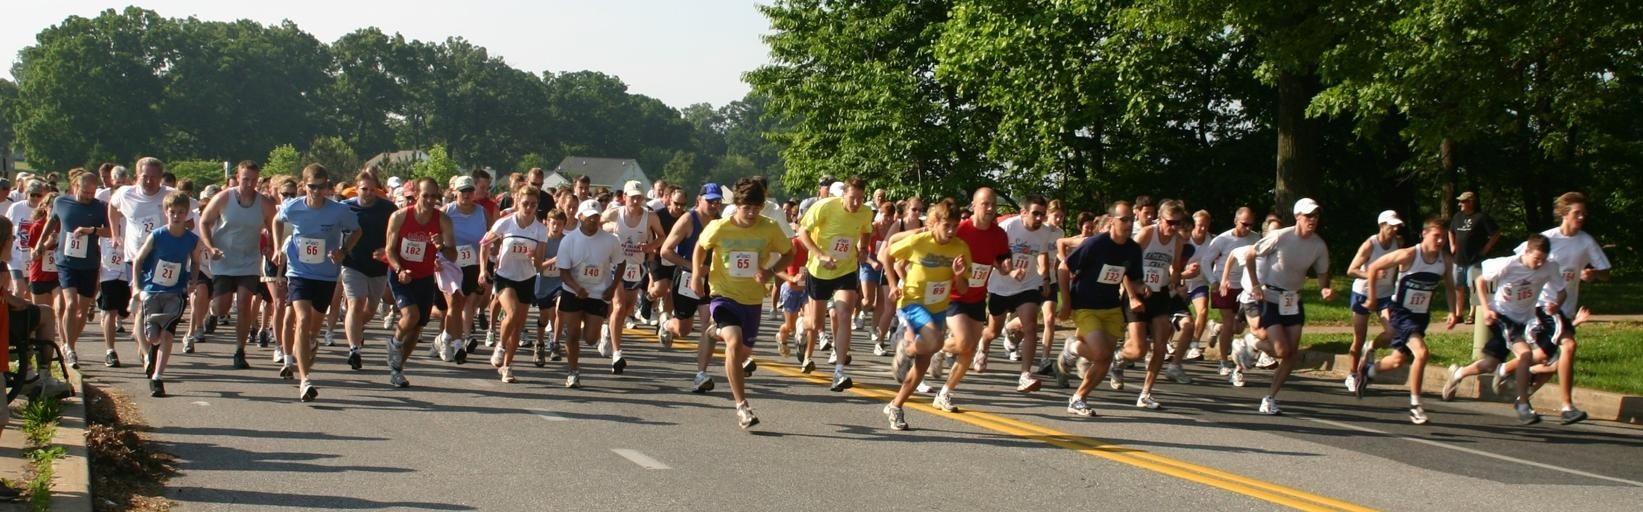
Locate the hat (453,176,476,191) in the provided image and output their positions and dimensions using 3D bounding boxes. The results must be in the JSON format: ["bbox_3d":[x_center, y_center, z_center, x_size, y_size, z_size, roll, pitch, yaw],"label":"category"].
[{"bbox_3d":[-17.743,-3.631,64.077,0.850,0.783,0.908,3,-3,-16],"label":"hat"}]
